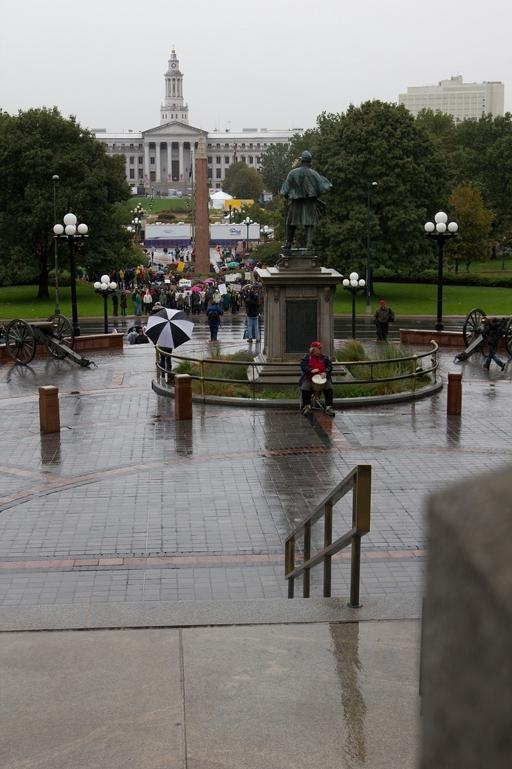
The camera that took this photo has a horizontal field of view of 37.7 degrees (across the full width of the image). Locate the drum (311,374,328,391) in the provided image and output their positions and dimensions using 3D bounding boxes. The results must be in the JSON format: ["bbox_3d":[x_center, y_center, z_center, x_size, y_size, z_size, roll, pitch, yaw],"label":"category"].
[{"bbox_3d":[1.338,-0.058,16.205,0.301,0.341,0.320,0,19,5],"label":"drum"}]

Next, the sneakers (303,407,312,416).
[{"bbox_3d":[1.112,0.569,16.326,0.128,0.162,0.367,-1,-8,2],"label":"sneakers"}]

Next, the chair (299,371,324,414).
[{"bbox_3d":[1.315,0.165,16.554,0.547,0.803,0.825,3,-2,-2],"label":"chair"}]

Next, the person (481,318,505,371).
[{"bbox_3d":[7.261,-1.229,22.990,0.628,1.597,2.232,-1,2,18],"label":"person"}]

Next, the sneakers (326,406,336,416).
[{"bbox_3d":[1.652,0.579,16.519,0.159,0.232,0.343,-1,3,38],"label":"sneakers"}]
